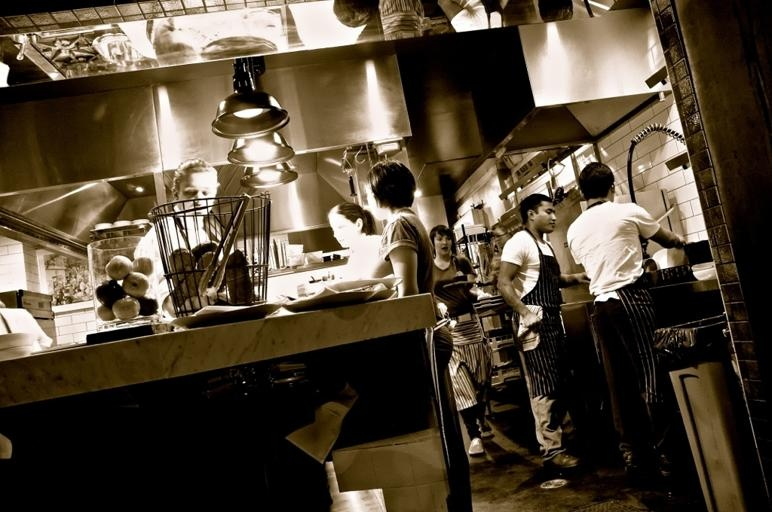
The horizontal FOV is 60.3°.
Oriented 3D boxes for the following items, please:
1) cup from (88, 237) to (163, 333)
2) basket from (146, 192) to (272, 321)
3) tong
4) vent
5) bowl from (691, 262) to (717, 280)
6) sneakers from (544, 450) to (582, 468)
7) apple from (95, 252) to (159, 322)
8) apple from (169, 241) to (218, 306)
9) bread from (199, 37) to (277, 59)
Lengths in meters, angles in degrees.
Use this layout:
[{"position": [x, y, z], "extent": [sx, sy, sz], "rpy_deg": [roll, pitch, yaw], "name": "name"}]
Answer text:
[{"position": [-0.973, 0.104, 2.487], "extent": [0.261, 0.390, 0.236], "rpy_deg": [-10, -15, -22], "name": "cup"}, {"position": [-0.603, -0.006, 2.571], "extent": [0.433, 0.473, 0.502], "rpy_deg": [-6, -1, 6], "name": "basket"}, {"position": [-0.563, -0.015, 2.348], "extent": [0.073, 0.378, 0.086], "rpy_deg": [28, 3, 4], "name": "tong"}, {"position": [1.402, -1.046, 4.861], "extent": [0.860, 0.582, 1.204], "rpy_deg": [5, -19, -18], "name": "vent"}, {"position": [1.699, 0.085, 3.550], "extent": [0.104, 0.103, 0.276], "rpy_deg": [-11, -3, 22], "name": "bowl"}, {"position": [1.065, 1.223, 4.043], "extent": [0.175, 0.078, 0.097], "rpy_deg": [-9, -1, 15], "name": "sneakers"}, {"position": [-0.973, 0.125, 2.477], "extent": [0.236, 0.238, 0.095], "rpy_deg": [4, -10, -3], "name": "apple"}, {"position": [-0.703, 0.072, 2.375], "extent": [0.176, 0.203, 0.202], "rpy_deg": [1, -14, -6], "name": "apple"}, {"position": [-0.776, -1.096, 3.503], "extent": [0.394, 0.109, 0.082], "rpy_deg": [-10, -2, -14], "name": "bread"}]
